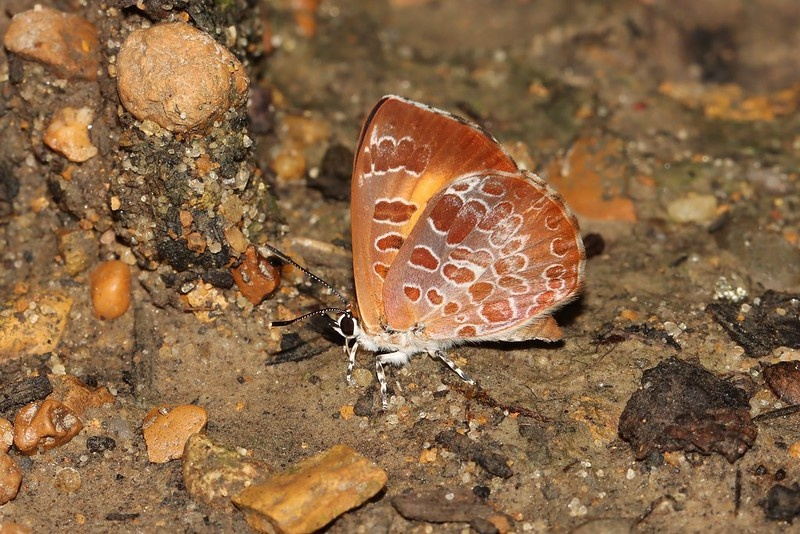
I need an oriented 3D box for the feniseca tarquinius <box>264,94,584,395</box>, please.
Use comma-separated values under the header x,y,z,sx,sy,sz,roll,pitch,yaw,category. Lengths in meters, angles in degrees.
x,y,z,sx,sy,sz,roll,pitch,yaw,category
0.266,-0.271,7.940,2.700,1.938,2.388,-1,96,8,feniseca tarquinius
